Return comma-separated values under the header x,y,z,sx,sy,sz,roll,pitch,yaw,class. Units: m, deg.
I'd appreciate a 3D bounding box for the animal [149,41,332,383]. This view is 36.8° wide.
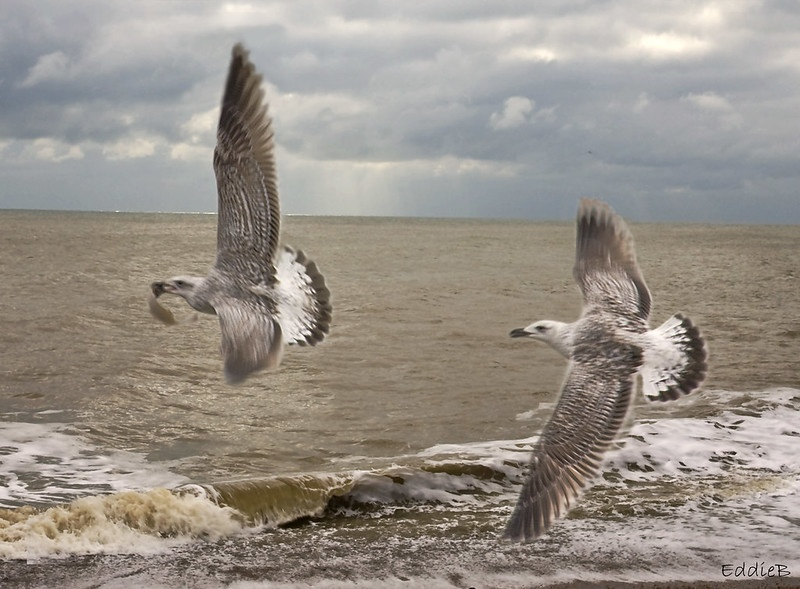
x,y,z,sx,sy,sz,roll,pitch,yaw,class
-2.489,-1.528,20.397,2.052,5.483,1.723,8,10,42,animal

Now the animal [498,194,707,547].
x,y,z,sx,sy,sz,roll,pitch,yaw,class
3.658,0.977,20.613,2.683,5.169,3.252,3,7,12,animal
